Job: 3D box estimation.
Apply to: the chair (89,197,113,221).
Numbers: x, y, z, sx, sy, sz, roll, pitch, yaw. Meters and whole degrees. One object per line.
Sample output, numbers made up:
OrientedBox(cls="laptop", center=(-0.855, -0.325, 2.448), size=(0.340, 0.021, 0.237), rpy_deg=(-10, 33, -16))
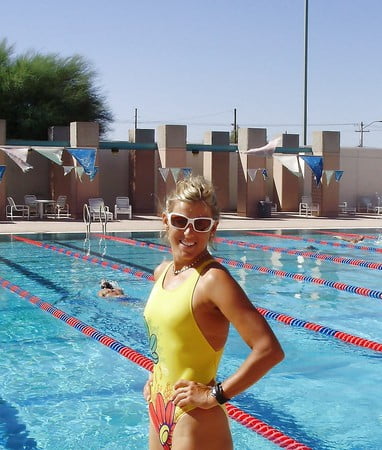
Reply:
OrientedBox(cls="chair", center=(-2.899, -0.481, 15.575), size=(0.770, 0.782, 1.278), rpy_deg=(-2, 8, -17))

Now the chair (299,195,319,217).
OrientedBox(cls="chair", center=(4.764, -0.732, 19.595), size=(0.793, 1.040, 0.812), rpy_deg=(-2, 4, -22))

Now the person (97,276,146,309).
OrientedBox(cls="person", center=(-0.953, 0.990, 6.639), size=(0.918, 0.294, 0.276), rpy_deg=(21, 32, 30))

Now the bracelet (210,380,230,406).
OrientedBox(cls="bracelet", center=(0.068, 0.405, 1.142), size=(0.039, 0.074, 0.066), rpy_deg=(1, 6, -4))

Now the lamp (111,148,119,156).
OrientedBox(cls="lamp", center=(-2.835, -2.736, 17.918), size=(0.326, 0.300, 0.311), rpy_deg=(0, 2, -3))
